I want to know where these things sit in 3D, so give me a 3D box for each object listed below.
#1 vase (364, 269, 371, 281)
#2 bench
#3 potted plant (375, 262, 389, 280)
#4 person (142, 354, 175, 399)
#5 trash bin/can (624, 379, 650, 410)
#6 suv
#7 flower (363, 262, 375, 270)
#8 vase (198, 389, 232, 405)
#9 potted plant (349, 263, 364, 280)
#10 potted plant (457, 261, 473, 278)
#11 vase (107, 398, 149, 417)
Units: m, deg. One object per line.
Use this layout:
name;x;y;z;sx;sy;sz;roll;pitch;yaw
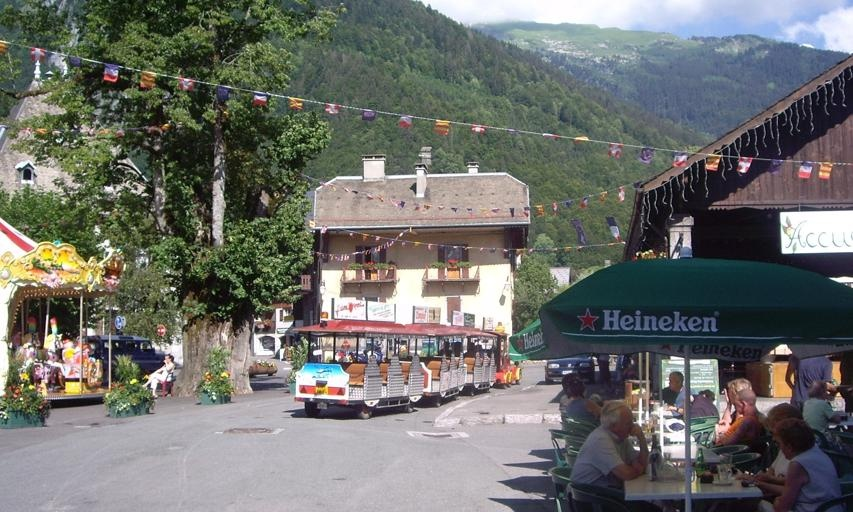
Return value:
vase;-3.896;1.244;79.164;0.636;0.626;0.443;1;-24;-1
bench;-0.744;5.499;55.579;2.512;1.922;9.780;-4;-9;24
potted plant;-2.902;1.047;79.103;1.047;1.164;0.934;1;-6;-5
person;-13.903;6.384;61.927;1.294;1.974;0.832;22;-48;-23
trash bin/can;8.514;5.651;48.011;0.908;1.365;1.472;1;-4;-1
suv;-17.449;6.551;69.502;3.465;3.715;6.153;-1;0;43
flower;-3.748;0.664;79.168;0.521;0.355;0.560;-2;-3;30
vase;-9.989;6.794;56.709;1.442;0.642;0.903;3;-9;-20
potted plant;-4.532;1.053;79.365;1.160;1.178;0.960;-1;-7;-1
potted plant;2.516;0.928;78.335;0.889;1.069;0.318;4;-9;-24
vase;-12.969;6.763;52.394;0.758;0.402;1.215;0;-1;28
